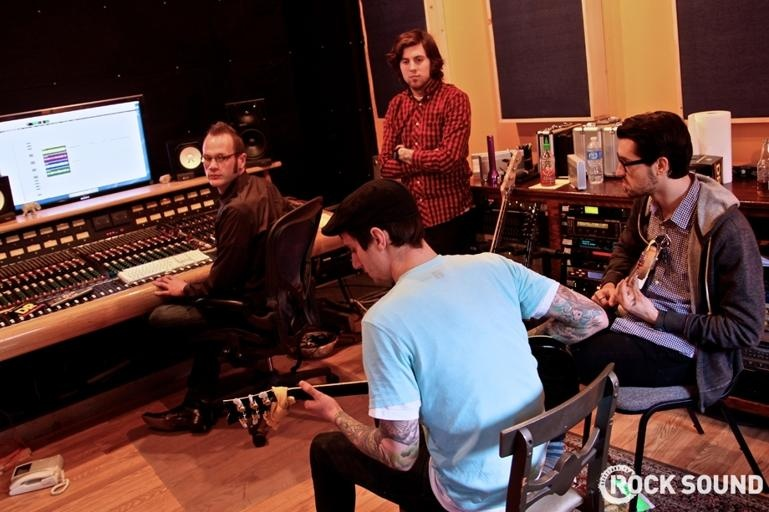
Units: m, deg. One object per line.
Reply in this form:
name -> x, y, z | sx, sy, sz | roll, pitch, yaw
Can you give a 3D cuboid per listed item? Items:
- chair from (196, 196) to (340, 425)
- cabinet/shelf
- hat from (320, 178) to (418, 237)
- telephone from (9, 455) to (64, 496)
chair -> -0.961, 0.319, 3.373 | 0.843, 1.325, 0.825 | 8, 21, 21
cabinet/shelf -> 1.394, 0.065, 2.655 | 0.879, 1.432, 0.599 | 0, -4, 19
hat -> -0.040, -0.156, 1.652 | 0.260, 0.133, 0.182 | -2, 14, 4
telephone -> -2.158, 1.376, 3.202 | 0.233, 0.074, 0.229 | -6, 17, -11
